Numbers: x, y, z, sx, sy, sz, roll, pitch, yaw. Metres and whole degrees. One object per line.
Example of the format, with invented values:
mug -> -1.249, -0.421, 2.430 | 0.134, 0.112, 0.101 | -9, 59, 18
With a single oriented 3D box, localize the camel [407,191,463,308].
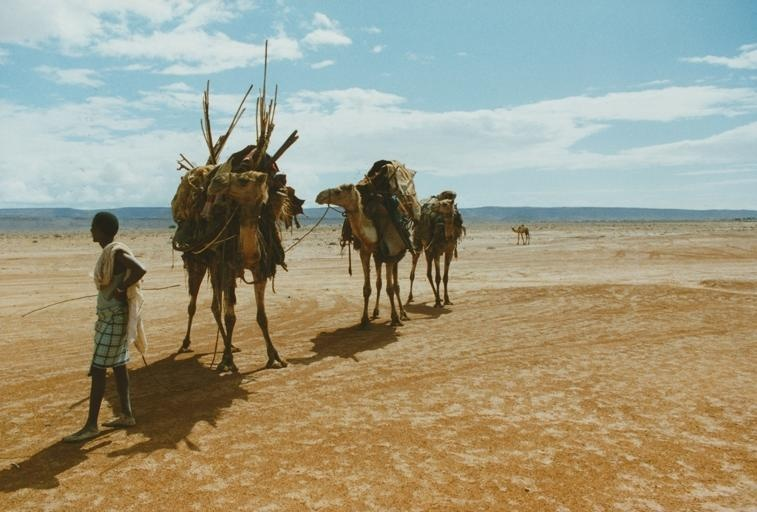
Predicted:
camel -> 1.923, -0.199, 20.019 | 1.646, 3.514, 4.818 | -1, 0, -6

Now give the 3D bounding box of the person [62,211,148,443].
person -> -4.330, 1.099, 9.664 | 1.199, 3.587, 0.848 | -6, 11, -19

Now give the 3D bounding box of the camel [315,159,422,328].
camel -> 0.008, -0.330, 15.694 | 1.608, 4.285, 3.358 | 2, 10, 21

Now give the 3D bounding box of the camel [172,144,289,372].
camel -> -3.348, 0.140, 13.086 | 2.251, 4.253, 6.203 | 1, -1, -26
